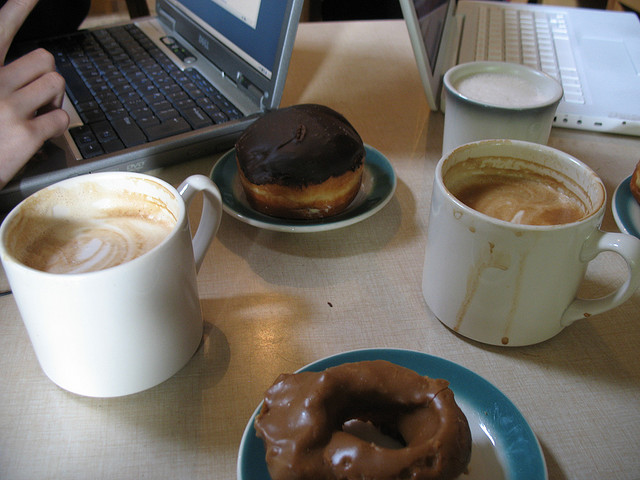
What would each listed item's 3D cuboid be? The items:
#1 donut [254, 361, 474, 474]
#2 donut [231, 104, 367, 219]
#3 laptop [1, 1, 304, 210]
[{"bbox_3d":[0.039,0.155,0.487,0.130,0.056,0.112,0,42,-2],"label":"donut"},{"bbox_3d":[-0.024,-0.108,0.766,0.165,0.107,0.162,-22,39,-31],"label":"donut"},{"bbox_3d":[-0.301,-0.198,0.957,0.380,0.281,0.458,-6,49,-33],"label":"laptop"}]
